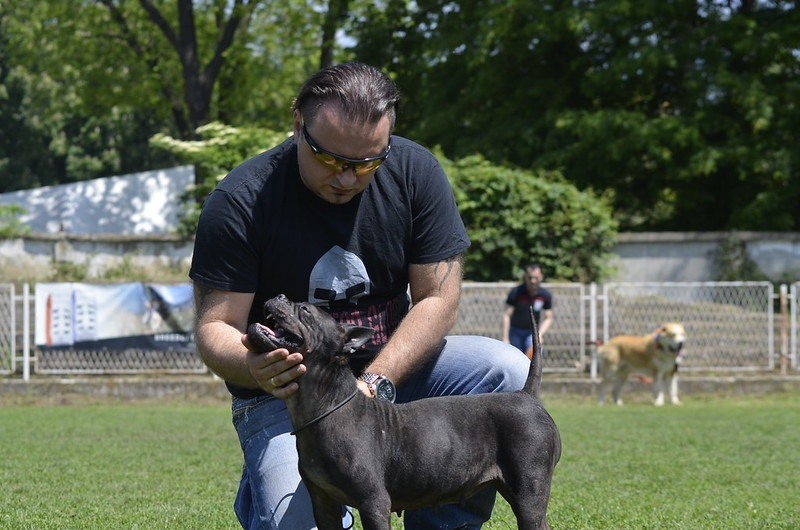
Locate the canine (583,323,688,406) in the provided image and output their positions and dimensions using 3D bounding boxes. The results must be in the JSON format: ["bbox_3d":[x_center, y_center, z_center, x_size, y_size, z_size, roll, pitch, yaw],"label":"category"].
[{"bbox_3d":[2.102,0.901,14.143,0.963,0.695,0.310,-3,-3,41],"label":"canine"}]

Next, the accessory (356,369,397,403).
[{"bbox_3d":[-0.147,0.929,12.545,0.260,0.280,0.181,1,42,51],"label":"accessory"}]

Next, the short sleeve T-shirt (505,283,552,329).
[{"bbox_3d":[1.463,0.504,18.235,0.516,0.607,0.251,3,24,-1],"label":"short sleeve T-shirt"}]
